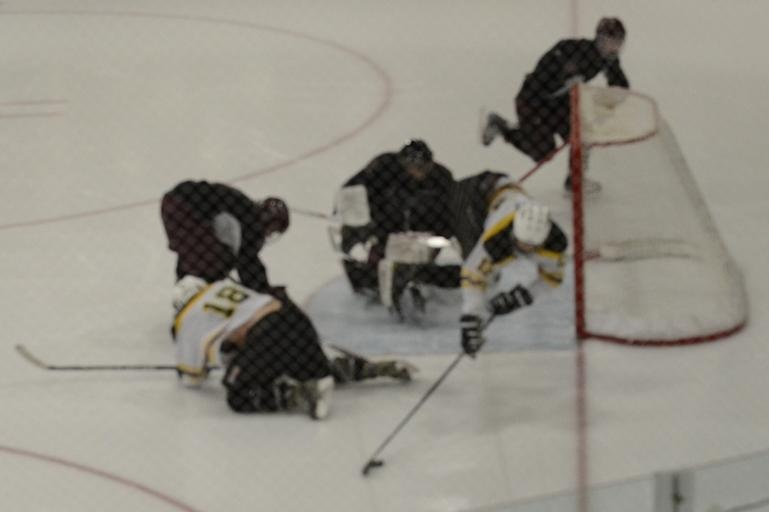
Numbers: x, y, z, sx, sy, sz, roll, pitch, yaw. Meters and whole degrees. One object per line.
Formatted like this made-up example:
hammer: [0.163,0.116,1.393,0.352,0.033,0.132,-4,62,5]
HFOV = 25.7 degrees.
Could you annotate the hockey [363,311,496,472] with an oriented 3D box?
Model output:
hockey: [0.198,0.586,6.922,0.074,0.071,0.870,31,64,27]

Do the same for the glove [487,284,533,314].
glove: [0.515,0.188,6.955,0.163,0.102,0.041,-19,51,-1]

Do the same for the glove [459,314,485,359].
glove: [0.358,0.331,6.900,0.123,0.162,0.050,2,6,2]

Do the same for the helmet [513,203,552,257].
helmet: [0.608,-0.140,6.921,0.144,0.203,0.223,10,52,14]

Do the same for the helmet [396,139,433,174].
helmet: [0.132,-0.404,6.972,0.131,0.079,0.139,-34,55,-21]
